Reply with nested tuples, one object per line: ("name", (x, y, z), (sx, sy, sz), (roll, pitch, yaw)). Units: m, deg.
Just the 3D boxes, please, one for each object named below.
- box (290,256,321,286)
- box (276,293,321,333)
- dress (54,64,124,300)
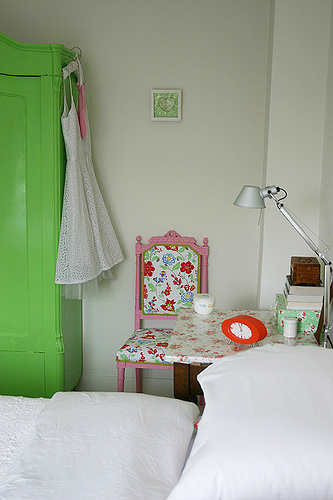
("box", (0.585, 0.087, 1.777), (0.110, 0.099, 0.112), (1, 8, 5))
("box", (0.551, 0.260, 1.760), (0.119, 0.085, 0.171), (0, 5, 1))
("dress", (-0.446, -0.359, 2.340), (0.246, 1.260, 0.521), (2, 7, 17))
